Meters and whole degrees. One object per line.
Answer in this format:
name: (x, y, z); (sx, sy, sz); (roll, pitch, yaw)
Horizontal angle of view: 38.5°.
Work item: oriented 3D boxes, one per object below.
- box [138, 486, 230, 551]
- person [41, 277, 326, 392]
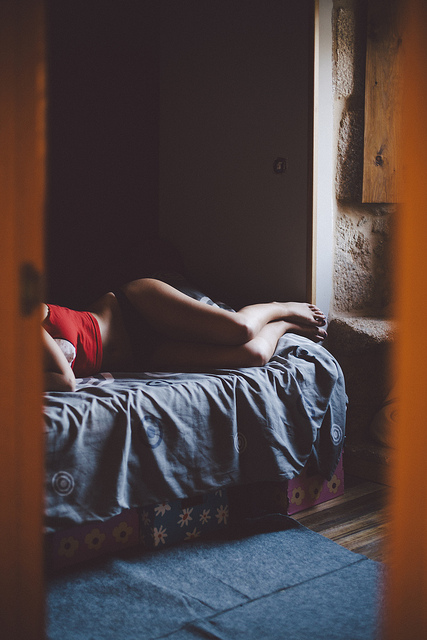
box: (-0.074, 0.480, 1.508); (0.254, 0.110, 0.062); (-4, 6, -38)
person: (-0.075, 0.048, 1.791); (0.688, 0.206, 0.318); (0, -4, -2)
